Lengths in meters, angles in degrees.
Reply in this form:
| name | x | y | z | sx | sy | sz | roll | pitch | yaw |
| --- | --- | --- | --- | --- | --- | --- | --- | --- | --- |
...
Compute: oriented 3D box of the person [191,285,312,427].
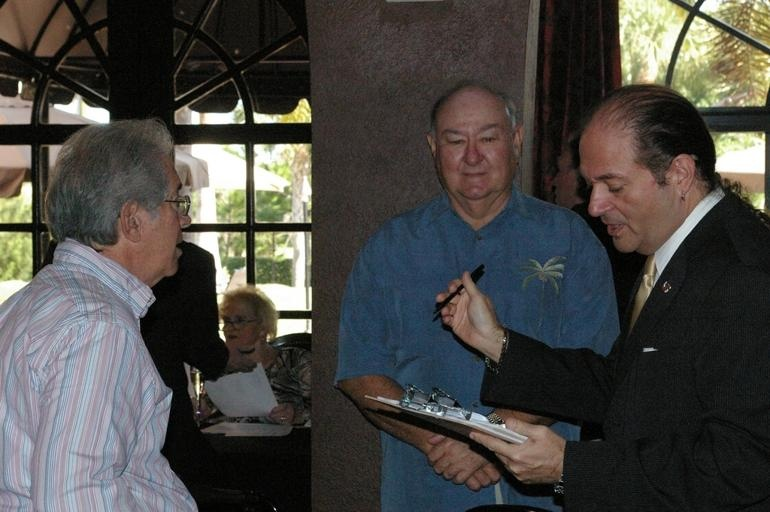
| name | x | y | z | sx | sy | sz | roll | pitch | yaw |
| --- | --- | --- | --- | --- | --- | --- | --- | --- | --- |
| person | -0.845 | 0.656 | 5.113 | 0.677 | 0.772 | 0.516 | -22 | -34 | 34 |
